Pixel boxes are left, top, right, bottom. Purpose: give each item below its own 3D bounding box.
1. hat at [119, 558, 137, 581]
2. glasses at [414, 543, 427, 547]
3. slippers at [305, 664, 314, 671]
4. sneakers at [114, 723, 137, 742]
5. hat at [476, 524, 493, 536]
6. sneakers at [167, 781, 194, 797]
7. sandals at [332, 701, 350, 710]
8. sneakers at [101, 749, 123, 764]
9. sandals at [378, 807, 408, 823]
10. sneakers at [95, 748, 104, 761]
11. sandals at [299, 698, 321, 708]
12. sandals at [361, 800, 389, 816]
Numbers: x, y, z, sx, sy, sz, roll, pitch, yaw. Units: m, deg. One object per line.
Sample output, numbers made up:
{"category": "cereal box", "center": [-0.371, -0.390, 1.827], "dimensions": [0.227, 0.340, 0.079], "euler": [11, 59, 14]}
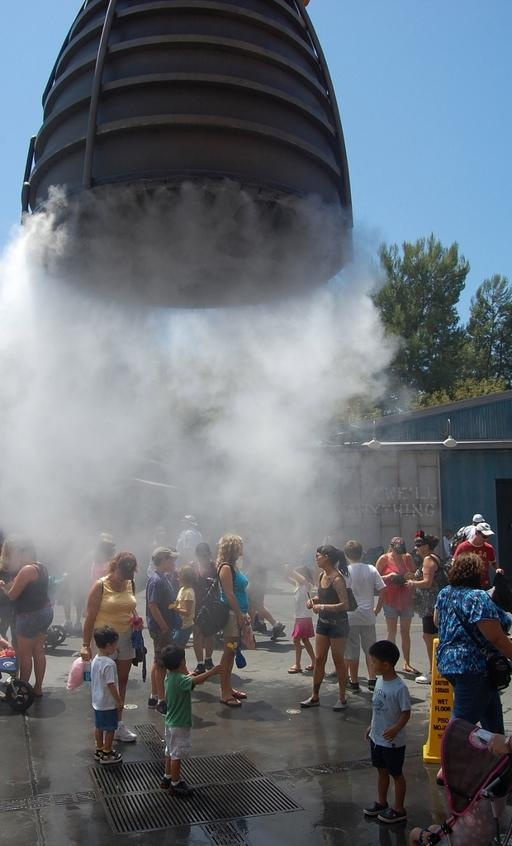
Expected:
{"category": "hat", "center": [-1.022, 1.177, 5.641], "dimensions": [0.176, 0.183, 0.130], "euler": [6, 1, -34]}
{"category": "glasses", "center": [1.703, 1.259, 7.158], "dimensions": [0.082, 0.045, 0.061], "euler": [7, -5, -19]}
{"category": "slippers", "center": [0.594, 2.753, 7.860], "dimensions": [0.049, 0.064, 0.149], "euler": [-3, -26, 8]}
{"category": "sneakers", "center": [-0.990, 2.421, 5.473], "dimensions": [0.229, 0.159, 0.106], "euler": [0, -9, 8]}
{"category": "hat", "center": [2.218, 1.028, 6.737], "dimensions": [0.113, 0.096, 0.162], "euler": [14, -13, 6]}
{"category": "sneakers", "center": [-0.469, 2.260, 4.306], "dimensions": [0.146, 0.075, 0.066], "euler": [6, -14, -11]}
{"category": "sandals", "center": [0.746, 2.508, 6.197], "dimensions": [0.060, 0.058, 0.142], "euler": [-10, -23, 25]}
{"category": "sneakers", "center": [-1.033, 2.351, 4.921], "dimensions": [0.161, 0.080, 0.064], "euler": [7, -13, -19]}
{"category": "sandals", "center": [0.759, 2.191, 3.913], "dimensions": [0.138, 0.056, 0.074], "euler": [6, -20, -7]}
{"category": "sneakers", "center": [-1.120, 2.343, 4.930], "dimensions": [0.040, 0.049, 0.110], "euler": [13, -10, 3]}
{"category": "sandals", "center": [0.483, 2.529, 6.312], "dimensions": [0.184, 0.081, 0.069], "euler": [9, -18, -25]}
{"category": "sandals", "center": [0.680, 2.207, 3.995], "dimensions": [0.143, 0.058, 0.062], "euler": [-5, -29, -3]}
